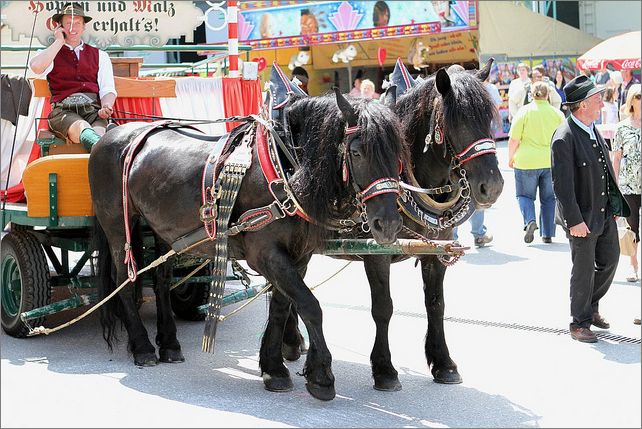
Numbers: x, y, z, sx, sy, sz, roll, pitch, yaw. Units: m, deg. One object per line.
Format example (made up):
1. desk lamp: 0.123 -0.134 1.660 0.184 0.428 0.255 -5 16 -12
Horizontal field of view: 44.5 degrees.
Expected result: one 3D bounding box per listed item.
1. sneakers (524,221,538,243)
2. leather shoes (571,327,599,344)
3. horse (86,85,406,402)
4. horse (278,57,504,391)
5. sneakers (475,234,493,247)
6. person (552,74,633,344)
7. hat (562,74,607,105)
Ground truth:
1. sneakers: 3.116 0.266 11.494 0.172 0.316 0.149 13 18 -4
2. leather shoes: 2.679 1.209 7.825 0.125 0.096 0.257 -1 -1 -33
3. horse: -0.821 0.218 7.387 3.786 2.662 1.174 7 5 35
4. horse: 0.506 0.310 7.856 1.072 2.711 3.719 4 -11 -28
5. sneakers: 2.443 0.384 11.630 0.134 0.146 0.367 14 22 42
6. person: 2.710 -0.166 7.892 0.641 2.412 0.631 -10 17 -30
7. hat: 2.669 -1.211 7.844 0.338 0.126 0.290 -27 6 23
